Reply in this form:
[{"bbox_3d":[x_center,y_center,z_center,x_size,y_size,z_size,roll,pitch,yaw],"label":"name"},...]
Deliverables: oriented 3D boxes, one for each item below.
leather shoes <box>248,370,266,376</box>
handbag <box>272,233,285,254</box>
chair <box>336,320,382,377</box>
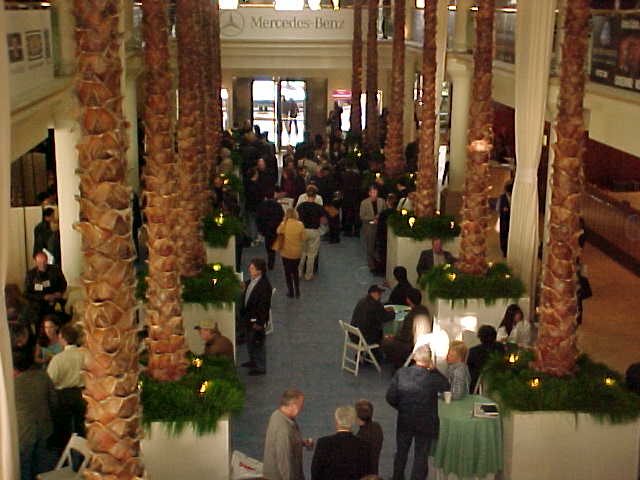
[{"bbox_3d":[-0.987,2.083,9.090,0.256,0.083,0.068,-2,11,-9],"label":"leather shoes"},{"bbox_3d":[-0.872,0.035,11.965,0.265,0.456,0.193,-15,40,-40],"label":"handbag"},{"bbox_3d":[0.662,1.705,9.300,0.642,0.803,0.592,1,8,-11],"label":"chair"}]
